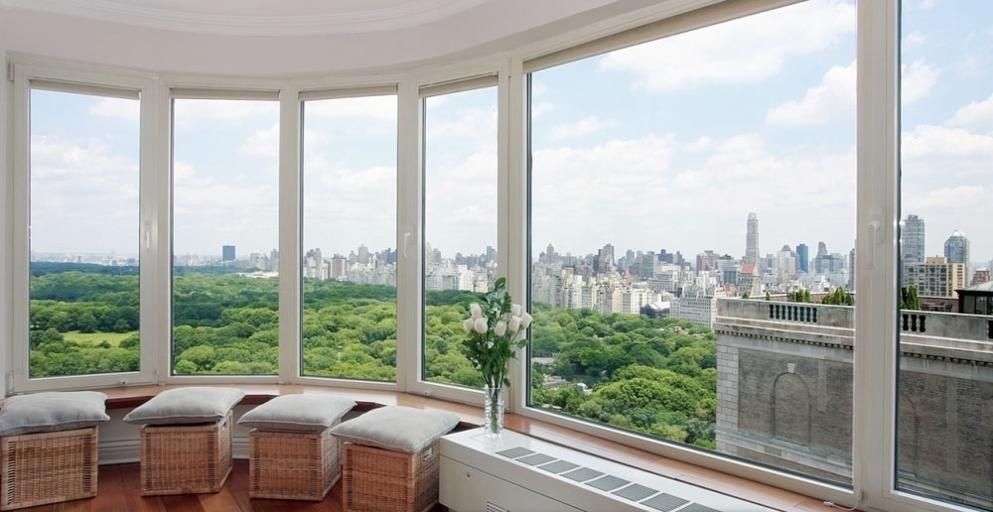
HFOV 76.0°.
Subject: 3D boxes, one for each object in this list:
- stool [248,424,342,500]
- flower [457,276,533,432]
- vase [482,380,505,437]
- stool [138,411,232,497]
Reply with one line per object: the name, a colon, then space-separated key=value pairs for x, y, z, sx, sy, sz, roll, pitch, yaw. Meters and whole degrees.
stool: x=-1.754 y=1.759 z=5.599 sx=0.740 sy=0.430 sz=0.650 roll=1 pitch=-3 yaw=0
flower: x=0.003 y=0.795 z=5.163 sx=0.529 sy=1.247 sz=0.371 roll=0 pitch=0 yaw=2
vase: x=-0.039 y=1.232 z=5.124 sx=0.164 sy=0.415 sz=0.087 roll=-1 pitch=-1 yaw=20
stool: x=-2.679 y=1.720 z=5.631 sx=0.760 sy=0.454 sz=0.690 roll=0 pitch=-1 yaw=-12
